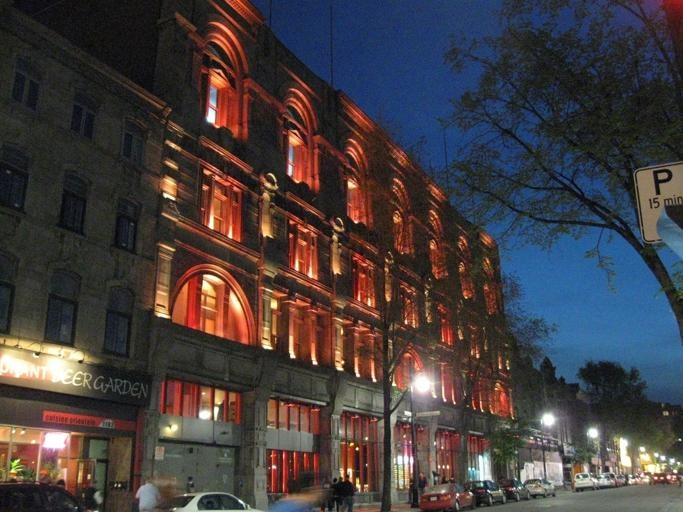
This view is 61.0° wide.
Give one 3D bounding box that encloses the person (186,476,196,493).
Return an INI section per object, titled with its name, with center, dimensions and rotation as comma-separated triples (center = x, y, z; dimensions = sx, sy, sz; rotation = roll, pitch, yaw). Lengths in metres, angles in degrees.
[person]
center = -6.945, 10.486, 26.721
dimensions = 0.356, 0.715, 0.787
rotation = 3, -26, -7

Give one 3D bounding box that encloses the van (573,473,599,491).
[van]
center = 29.170, 26.989, 69.260
dimensions = 1.804, 1.655, 3.255
rotation = -8, -14, 26

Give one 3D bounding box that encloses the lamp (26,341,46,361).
[lamp]
center = -11.443, 3.489, 21.664
dimensions = 0.525, 0.728, 0.490
rotation = 16, -30, -32

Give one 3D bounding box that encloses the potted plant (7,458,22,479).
[potted plant]
center = -11.845, 7.722, 21.085
dimensions = 0.587, 0.762, 0.586
rotation = 15, -27, -31
